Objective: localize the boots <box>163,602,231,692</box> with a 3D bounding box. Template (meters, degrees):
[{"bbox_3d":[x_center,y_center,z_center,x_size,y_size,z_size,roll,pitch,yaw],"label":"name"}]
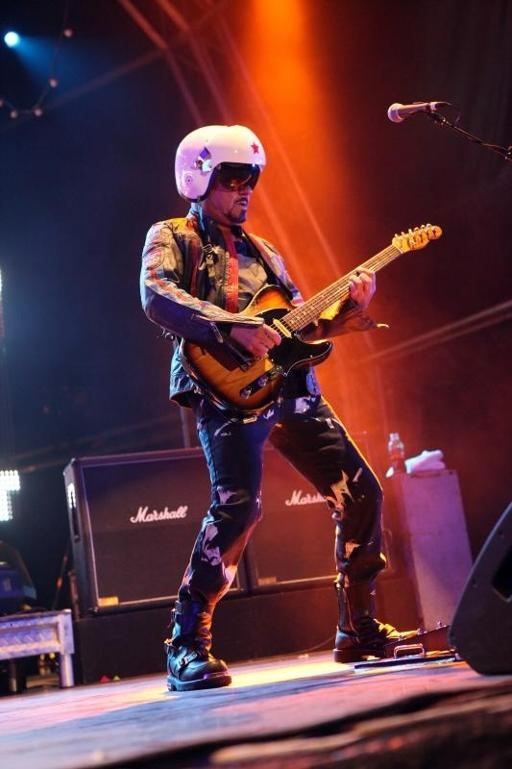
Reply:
[{"bbox_3d":[-0.180,0.788,2.043,0.130,0.272,0.296,13,-25,-30],"label":"boots"}]

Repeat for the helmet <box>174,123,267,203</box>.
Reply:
[{"bbox_3d":[-0.129,-0.751,2.313,0.304,0.234,0.247,0,21,8],"label":"helmet"}]

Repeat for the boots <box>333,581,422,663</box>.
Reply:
[{"bbox_3d":[0.362,0.757,2.163,0.155,0.264,0.236,0,-8,-35],"label":"boots"}]

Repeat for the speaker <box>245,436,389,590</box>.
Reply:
[{"bbox_3d":[0.135,0.651,3.701,0.979,0.874,0.535,3,-18,-22],"label":"speaker"}]

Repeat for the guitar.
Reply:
[{"bbox_3d":[0.213,-0.269,2.216,1.019,0.353,0.120,-37,-15,-17],"label":"guitar"}]

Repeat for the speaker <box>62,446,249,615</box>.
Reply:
[{"bbox_3d":[-0.575,0.723,3.368,0.753,0.688,0.255,4,-17,-41],"label":"speaker"}]
